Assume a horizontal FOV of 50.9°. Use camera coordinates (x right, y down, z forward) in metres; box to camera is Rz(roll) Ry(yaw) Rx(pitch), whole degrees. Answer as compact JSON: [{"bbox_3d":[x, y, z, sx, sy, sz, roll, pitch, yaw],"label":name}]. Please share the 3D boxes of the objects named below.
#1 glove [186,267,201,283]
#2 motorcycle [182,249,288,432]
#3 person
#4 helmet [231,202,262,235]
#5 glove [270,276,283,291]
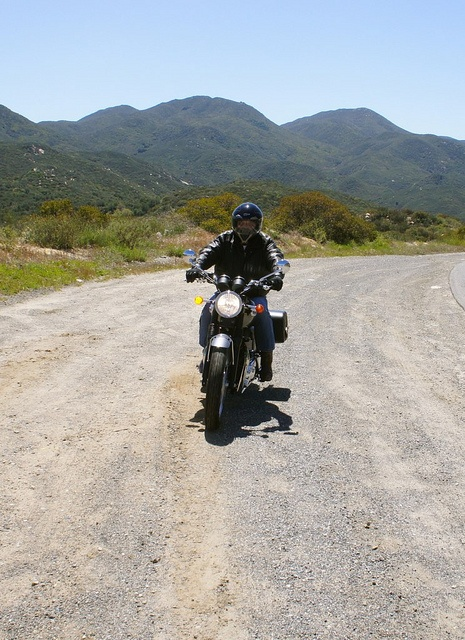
[{"bbox_3d":[-0.381,-0.430,4.777,0.109,0.149,0.053,13,16,8],"label":"glove"},{"bbox_3d":[-0.007,0.215,4.520,0.863,1.266,1.819,2,8,13],"label":"motorcycle"},{"bbox_3d":[0.080,-0.600,5.531,0.970,1.051,1.770,1,10,6],"label":"person"},{"bbox_3d":[0.157,-1.071,5.094,0.249,0.259,0.316,2,11,6],"label":"helmet"},{"bbox_3d":[0.429,-0.351,4.671,0.116,0.126,0.126,2,2,-3],"label":"glove"}]
